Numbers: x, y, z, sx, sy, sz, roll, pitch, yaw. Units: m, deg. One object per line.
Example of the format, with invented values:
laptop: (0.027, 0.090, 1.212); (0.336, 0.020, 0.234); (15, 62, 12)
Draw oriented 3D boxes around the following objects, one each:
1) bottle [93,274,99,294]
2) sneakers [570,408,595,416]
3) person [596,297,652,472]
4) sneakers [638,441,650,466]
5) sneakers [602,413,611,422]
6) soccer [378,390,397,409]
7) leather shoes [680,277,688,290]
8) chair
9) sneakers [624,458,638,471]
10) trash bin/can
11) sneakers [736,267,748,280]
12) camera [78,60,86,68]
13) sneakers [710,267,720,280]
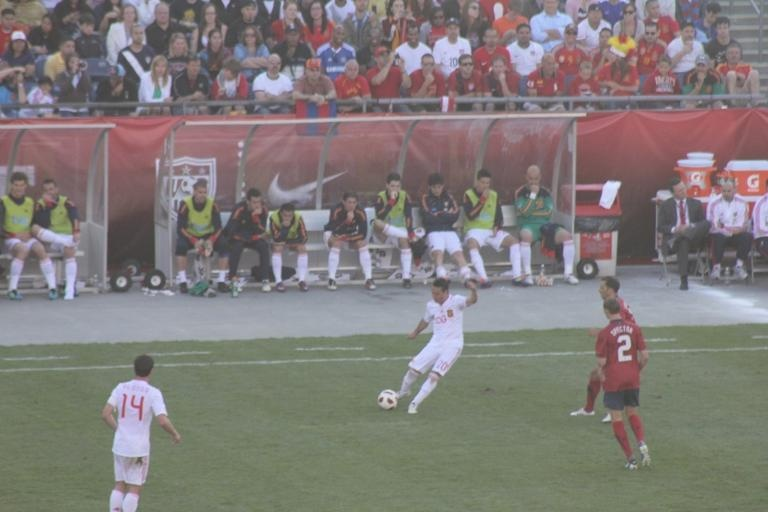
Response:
bottle: (-5.534, 0.439, 32.035); (0.096, 0.336, 0.409); (-1, 2, -18)
sneakers: (3.098, 2.412, 26.439); (0.383, 0.143, 0.142); (1, 1, 12)
person: (3.557, 1.873, 25.190); (0.770, 2.547, 0.543); (0, 2, 9)
sneakers: (3.891, 2.937, 25.142); (0.150, 0.416, 0.186); (-5, 11, -3)
sneakers: (3.481, 2.474, 26.191); (0.088, 0.102, 0.239); (7, -6, -39)
soccer: (0.035, 2.168, 26.571); (0.279, 0.286, 0.284); (5, 37, 3)
leather shoes: (5.737, 0.442, 32.248); (0.170, 0.269, 0.577); (0, 2, 10)
chair: (6.127, -0.319, 32.444); (1.727, 1.747, 1.110); (0, 2, 9)
sneakers: (3.702, 3.055, 25.129); (0.136, 0.195, 0.199); (3, -8, -25)
trash bin/can: (4.160, -0.551, 33.014); (0.912, 1.823, 0.758); (0, 2, 7)
sneakers: (6.870, 0.261, 32.378); (0.202, 0.245, 0.389); (0, 2, 23)
camera: (-6.021, -3.877, 33.376); (0.100, 0.131, 0.116); (5, 8, -10)
sneakers: (6.391, 0.237, 32.482); (0.193, 0.283, 0.414); (0, 2, 7)
